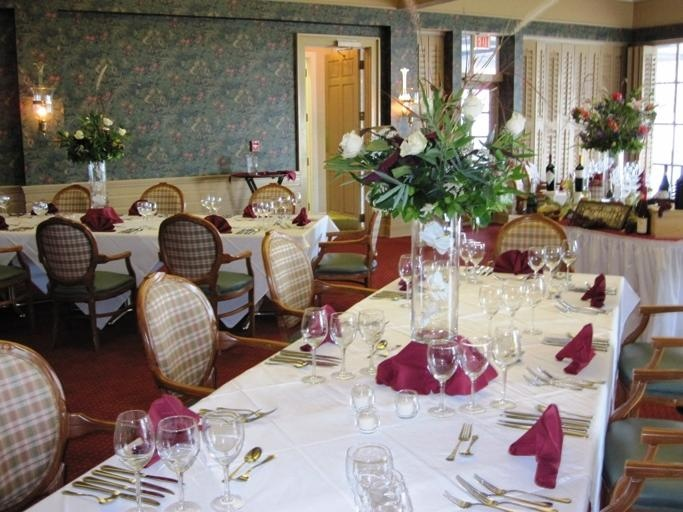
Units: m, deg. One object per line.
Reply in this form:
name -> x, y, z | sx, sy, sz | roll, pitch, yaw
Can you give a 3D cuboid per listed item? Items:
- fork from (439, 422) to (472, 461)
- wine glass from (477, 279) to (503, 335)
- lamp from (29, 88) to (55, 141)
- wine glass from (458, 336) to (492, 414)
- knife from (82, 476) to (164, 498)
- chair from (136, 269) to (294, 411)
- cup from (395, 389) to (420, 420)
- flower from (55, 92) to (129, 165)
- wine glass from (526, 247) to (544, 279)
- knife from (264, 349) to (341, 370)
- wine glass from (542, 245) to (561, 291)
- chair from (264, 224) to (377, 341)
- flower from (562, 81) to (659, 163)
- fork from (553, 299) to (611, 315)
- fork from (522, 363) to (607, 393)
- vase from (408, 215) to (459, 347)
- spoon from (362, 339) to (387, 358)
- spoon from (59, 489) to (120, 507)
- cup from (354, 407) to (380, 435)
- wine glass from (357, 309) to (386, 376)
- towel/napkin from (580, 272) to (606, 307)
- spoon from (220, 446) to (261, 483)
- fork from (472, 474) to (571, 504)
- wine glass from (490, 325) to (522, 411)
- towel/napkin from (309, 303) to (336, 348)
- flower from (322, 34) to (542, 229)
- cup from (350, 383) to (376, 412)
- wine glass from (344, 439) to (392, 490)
fork -> 0.323, 0.521, 1.524 | 0.036, 0.030, 0.211 | -8, 21, 29
wine glass -> 0.640, 0.205, 2.306 | 0.088, 0.217, 0.335 | 2, 10, 15
lamp -> -3.731, -1.833, 6.733 | 0.239, 0.601, 0.144 | -6, 11, -30
wine glass -> 0.431, 0.361, 1.713 | 0.090, 0.234, 0.222 | 3, 10, 21
knife -> -0.553, 0.594, 1.368 | 0.235, 0.016, 0.061 | 5, 9, 13
chair -> -0.653, 0.244, 2.503 | 0.604, 0.843, 0.543 | 6, 12, 31
cup -> 0.203, 0.466, 1.658 | 0.063, 0.061, 0.063 | 1, 5, 0
flower -> -3.009, -1.542, 6.377 | 0.954, 0.832, 0.944 | -3, 17, -11
wine glass -> 1.024, 0.028, 2.805 | 0.078, 0.139, 0.155 | 4, 11, 22
knife -> -0.143, 0.382, 2.063 | 0.259, 0.023, 0.094 | 1, 11, 17
wine glass -> 1.124, 0.055, 2.857 | 0.086, 0.235, 0.232 | 4, 11, 22
chair -> -0.178, 0.112, 3.110 | 0.562, 0.786, 0.575 | 4, 13, 20
flower -> 2.407, -1.181, 4.759 | 0.614, 0.573, 0.473 | 2, 10, 15
fork -> 1.141, 0.248, 2.558 | 0.282, 0.049, 0.076 | -3, 29, 25
fork -> 0.752, 0.435, 1.854 | 0.289, 0.044, 0.086 | 1, 24, 37
vase -> 0.338, 0.084, 1.934 | 0.164, 0.442, 0.096 | 1, 10, 8
spoon -> 0.140, 0.349, 2.089 | 0.040, 0.026, 0.153 | 10, 17, 21
spoon -> -0.637, 0.606, 1.354 | 0.152, 0.010, 0.045 | 2, 10, 13
cup -> 0.078, 0.486, 1.570 | 0.064, 0.056, 0.064 | 1, 6, 0
wine glass -> 0.114, 0.291, 1.994 | 0.093, 0.239, 0.282 | 0, 10, 4
towel/napkin -> 1.285, 0.179, 2.742 | 0.087, 0.126, 0.055 | 19, 59, 34
spoon -> -0.262, 0.559, 1.450 | 0.026, 0.020, 0.139 | 13, 15, 12
fork -> 0.446, 0.579, 1.322 | 0.216, 0.033, 0.031 | 6, 6, 29
wine glass -> 0.540, 0.339, 1.758 | 0.083, 0.255, 0.244 | 3, 10, 19
towel/napkin -> -0.069, 0.264, 1.968 | 0.056, 0.157, 0.135 | 8, -10, -29
flower -> 0.334, -0.364, 1.943 | 0.747, 0.534, 0.360 | -4, 10, -20
cup -> 0.064, 0.438, 1.652 | 0.076, 0.073, 0.076 | -1, 0, 0
wine glass -> 0.060, 0.457, 1.195 | 0.093, 0.092, 0.095 | 0, -3, -4
